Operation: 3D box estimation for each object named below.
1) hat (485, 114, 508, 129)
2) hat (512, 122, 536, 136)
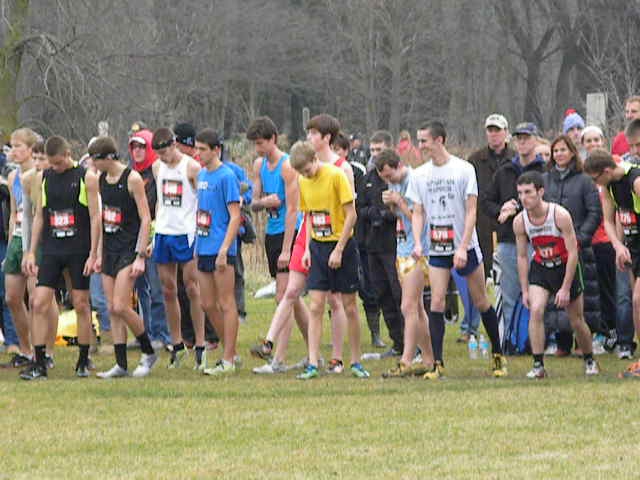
[{"bbox_3d":[2.169,-1.503,15.947,0.194,0.169,0.307,-1,-8,18],"label":"hat"},{"bbox_3d":[2.442,-1.320,15.330,0.192,0.133,0.296,0,1,26],"label":"hat"}]
